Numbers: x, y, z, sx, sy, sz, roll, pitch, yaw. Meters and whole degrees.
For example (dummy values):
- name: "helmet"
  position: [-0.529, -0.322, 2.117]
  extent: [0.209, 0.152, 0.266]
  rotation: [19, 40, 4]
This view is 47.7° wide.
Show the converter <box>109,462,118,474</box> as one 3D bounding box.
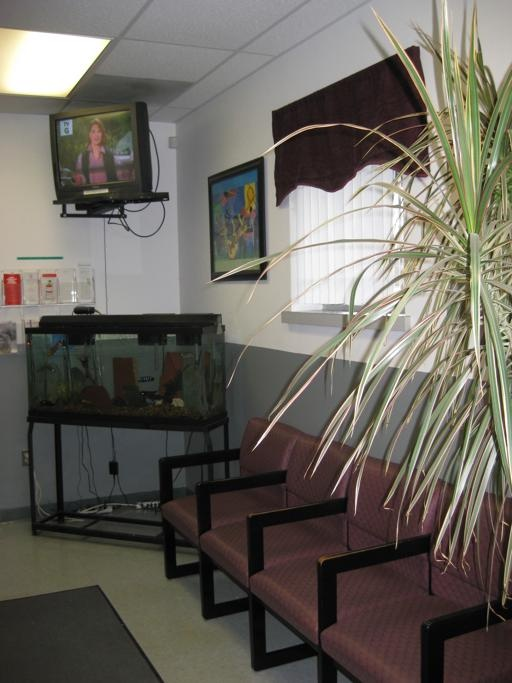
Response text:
- name: "converter"
  position: [-1.181, 1.064, 4.832]
  extent: [0.078, 0.139, 0.088]
  rotation: [-3, 3, -15]

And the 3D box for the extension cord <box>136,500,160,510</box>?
- name: "extension cord"
  position: [-0.870, 1.321, 4.653]
  extent: [0.181, 0.038, 0.190]
  rotation: [-2, 3, -8]

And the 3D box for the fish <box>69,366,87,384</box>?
- name: "fish"
  position: [-1.207, 0.232, 3.956]
  extent: [0.125, 0.112, 0.029]
  rotation: [-1, 3, 27]

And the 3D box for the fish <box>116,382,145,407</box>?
- name: "fish"
  position: [-0.849, 0.369, 3.898]
  extent: [0.172, 0.164, 0.046]
  rotation: [6, 17, 13]

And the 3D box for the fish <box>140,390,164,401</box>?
- name: "fish"
  position: [-0.692, 0.359, 3.841]
  extent: [0.143, 0.074, 0.021]
  rotation: [-1, 3, 25]

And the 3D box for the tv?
- name: "tv"
  position: [-1.018, -1.252, 3.824]
  extent: [0.739, 0.677, 0.412]
  rotation: [-1, 6, 22]
